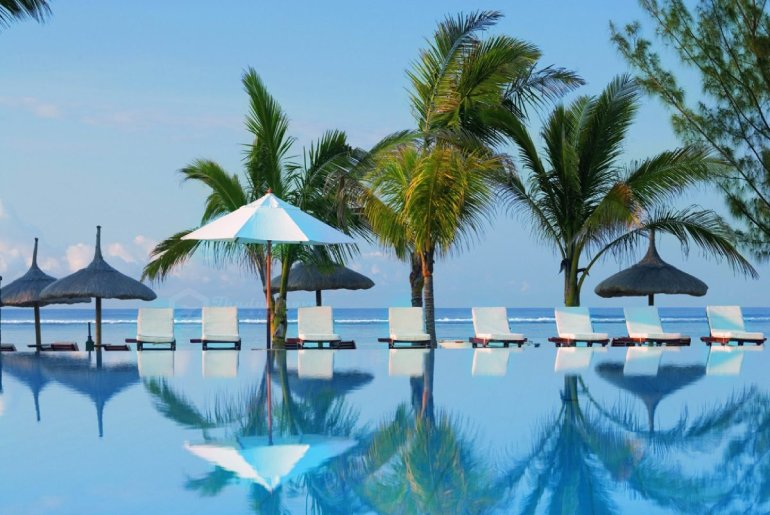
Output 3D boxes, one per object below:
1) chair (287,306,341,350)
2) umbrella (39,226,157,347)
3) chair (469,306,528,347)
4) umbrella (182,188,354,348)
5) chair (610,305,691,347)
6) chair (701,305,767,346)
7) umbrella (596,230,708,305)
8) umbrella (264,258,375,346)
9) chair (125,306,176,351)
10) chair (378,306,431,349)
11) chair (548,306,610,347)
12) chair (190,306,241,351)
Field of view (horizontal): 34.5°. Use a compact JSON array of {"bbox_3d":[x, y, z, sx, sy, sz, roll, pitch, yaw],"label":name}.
[{"bbox_3d":[-2.814,2.939,50.982,1.656,1.624,1.757,0,-3,-10],"label":"chair"},{"bbox_3d":[-12.618,1.164,55.393,3.897,5.245,4.476,3,10,9],"label":"umbrella"},{"bbox_3d":[4.604,2.941,50.322,1.684,2.017,2.722,1,-3,-17],"label":"chair"},{"bbox_3d":[-4.206,0.504,48.241,5.261,5.734,4.249,-2,-9,11],"label":"umbrella"},{"bbox_3d":[10.841,3.066,52.371,2.003,1.385,2.113,0,-7,-10],"label":"chair"},{"bbox_3d":[14.403,2.955,53.061,1.423,1.697,2.599,0,-6,-11],"label":"chair"},{"bbox_3d":[11.534,0.701,55.207,3.489,2.535,3.565,-3,-3,-32],"label":"umbrella"},{"bbox_3d":[-2.927,2.037,57.358,3.501,3.305,3.701,0,-2,26],"label":"umbrella"},{"bbox_3d":[-9.615,3.016,51.660,1.552,1.608,2.205,1,-7,-13],"label":"chair"},{"bbox_3d":[0.947,3.061,49.871,1.652,2.121,2.307,0,-4,-8],"label":"chair"},{"bbox_3d":[7.694,2.909,51.564,1.498,1.420,2.139,0,-6,-12],"label":"chair"},{"bbox_3d":[-6.748,2.856,51.165,1.750,1.397,1.853,0,-8,-11],"label":"chair"}]
